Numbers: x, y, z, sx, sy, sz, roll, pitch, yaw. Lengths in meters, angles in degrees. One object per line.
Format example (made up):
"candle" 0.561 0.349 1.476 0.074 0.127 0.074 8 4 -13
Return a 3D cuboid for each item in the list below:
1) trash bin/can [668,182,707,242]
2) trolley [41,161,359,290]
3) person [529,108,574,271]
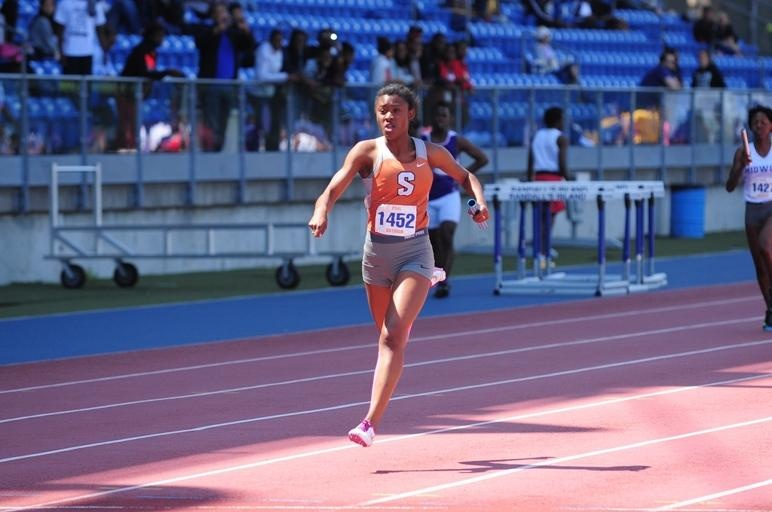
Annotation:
"trash bin/can" 5.096 -0.718 23.596 0.501 0.995 0.476 0 -5 8
"trolley" -2.471 -0.310 19.068 4.056 1.696 1.183 -2 -6 -5
"person" 2.309 -0.964 19.085 0.577 2.214 0.633 9 9 43
